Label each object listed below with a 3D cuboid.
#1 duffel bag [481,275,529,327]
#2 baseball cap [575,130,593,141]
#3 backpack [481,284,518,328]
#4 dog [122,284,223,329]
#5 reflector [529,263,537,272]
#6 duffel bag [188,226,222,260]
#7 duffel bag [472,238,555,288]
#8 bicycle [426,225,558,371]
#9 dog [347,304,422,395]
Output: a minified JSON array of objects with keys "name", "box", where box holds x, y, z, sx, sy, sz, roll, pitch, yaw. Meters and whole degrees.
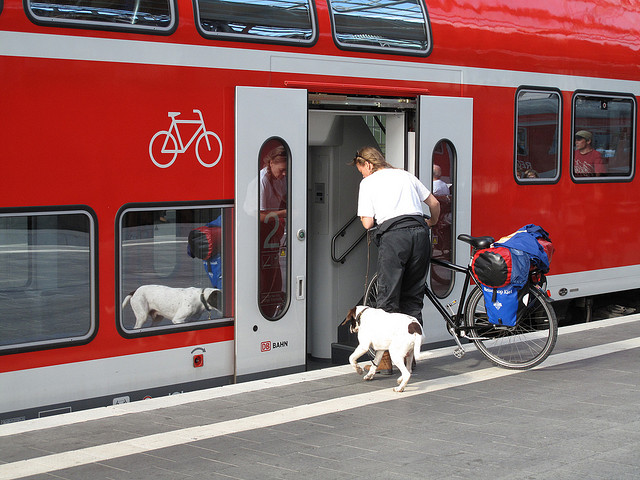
[{"name":"duffel bag","box":[1.764,0.551,5.467,0.292,0.584,0.438,-11,7,-42]},{"name":"baseball cap","box":[3.605,-1.402,7.908,0.211,0.074,0.141,5,-2,-30]},{"name":"backpack","box":[1.717,0.608,5.494,0.380,0.421,0.223,8,14,44]},{"name":"dog","box":[-1.254,0.552,5.038,0.930,0.476,0.239,-2,3,-27]},{"name":"reflector","box":[2.010,0.261,5.466,0.060,0.087,0.074,1,9,8]},{"name":"duffel bag","box":[-1.029,-0.010,5.334,0.268,0.322,0.408,-7,0,34]},{"name":"duffel bag","box":[1.798,0.173,5.603,0.372,0.289,0.710,1,18,46]},{"name":"bicycle","box":[1.824,0.686,6.101,1.766,1.115,0.831,13,18,41]},{"name":"dog","box":[0.528,0.944,5.175,0.851,0.696,0.306,2,-4,42]}]
